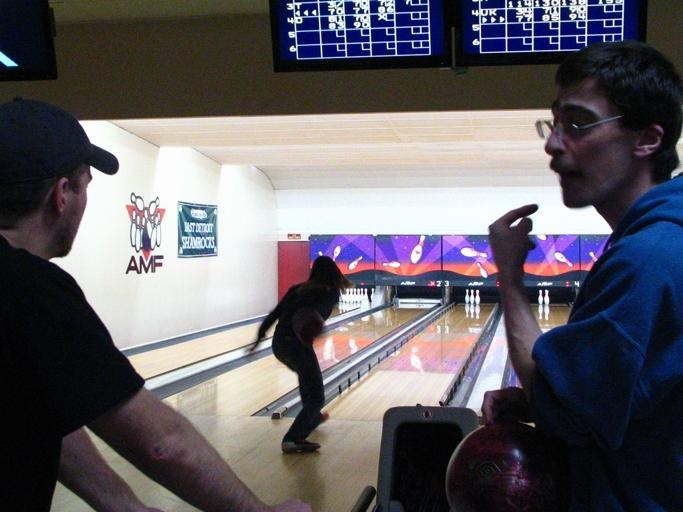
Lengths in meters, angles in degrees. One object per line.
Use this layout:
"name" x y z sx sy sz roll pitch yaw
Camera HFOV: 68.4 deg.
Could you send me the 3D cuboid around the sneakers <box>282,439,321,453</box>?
"sneakers" -0.264 1.214 3.235 0.261 0.129 0.093 1 -24 -4
